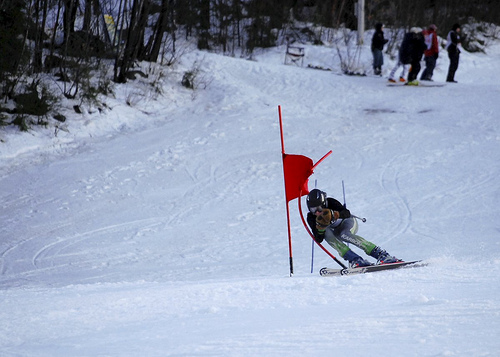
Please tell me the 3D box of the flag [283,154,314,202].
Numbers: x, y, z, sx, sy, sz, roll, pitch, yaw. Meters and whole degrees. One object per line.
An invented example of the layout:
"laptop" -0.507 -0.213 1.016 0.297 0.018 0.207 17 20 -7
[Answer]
"flag" 1.030 0.037 13.681 0.646 1.504 0.110 4 35 14

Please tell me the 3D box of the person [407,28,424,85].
"person" 5.784 -4.243 21.559 0.388 1.909 0.973 7 11 14

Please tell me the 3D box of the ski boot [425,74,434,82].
"ski boot" 6.628 -3.735 23.044 0.176 0.202 0.459 -6 -19 36
